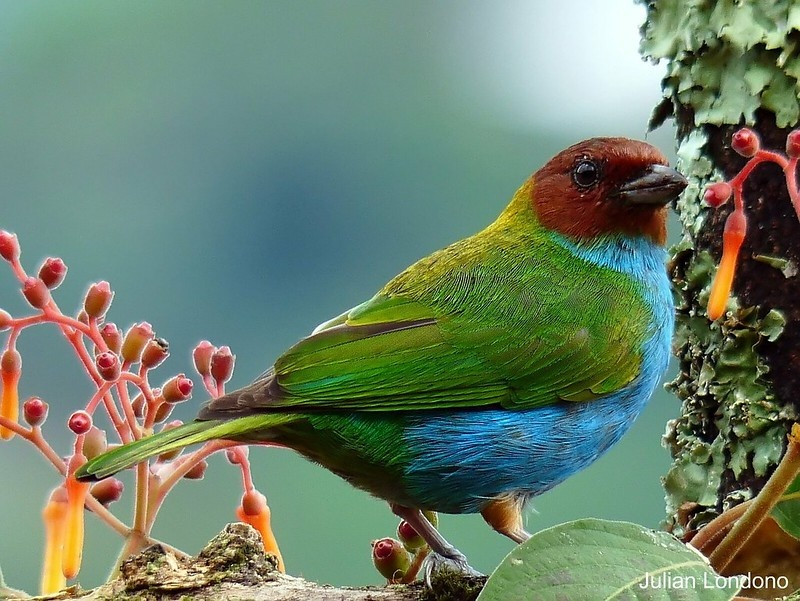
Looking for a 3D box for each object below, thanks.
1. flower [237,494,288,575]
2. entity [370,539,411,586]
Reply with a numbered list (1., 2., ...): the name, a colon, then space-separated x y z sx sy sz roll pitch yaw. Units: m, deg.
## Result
1. flower: -0.531 0.914 4.556 0.123 0.116 0.353 -9 -69 -6
2. entity: -0.018 0.959 4.447 0.114 0.122 0.204 -27 -47 27
